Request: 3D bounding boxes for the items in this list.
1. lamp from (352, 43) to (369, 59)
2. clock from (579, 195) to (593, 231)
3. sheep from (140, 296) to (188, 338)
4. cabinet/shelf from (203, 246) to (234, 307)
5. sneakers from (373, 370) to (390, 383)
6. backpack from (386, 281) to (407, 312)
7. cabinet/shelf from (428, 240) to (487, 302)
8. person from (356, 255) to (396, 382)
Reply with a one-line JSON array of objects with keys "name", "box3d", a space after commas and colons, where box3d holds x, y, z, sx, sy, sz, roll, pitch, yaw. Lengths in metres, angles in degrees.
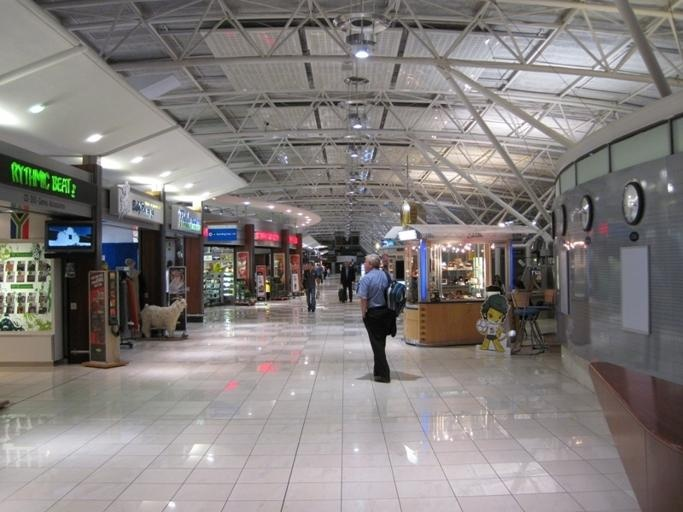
[{"name": "lamp", "box3d": [0.324, -3.304, 7.934, 0.252, 0.131, 0.400, -2, -4, 4]}, {"name": "clock", "box3d": [3.597, -0.622, 7.092, 0.079, 0.531, 0.341, -2, -3, 12]}, {"name": "sheep", "box3d": [-4.460, 1.532, 12.151, 1.113, 0.906, 0.484, -1, -1, -1]}, {"name": "cabinet/shelf", "box3d": [-6.114, 0.957, 24.025, 0.944, 2.946, 2.332, -3, -4, 19]}, {"name": "sneakers", "box3d": [0.597, 1.856, 7.472, 0.109, 0.150, 0.318, 4, -2, -29]}, {"name": "backpack", "box3d": [0.831, 0.629, 7.455, 0.264, 0.460, 0.350, 12, 17, 29]}, {"name": "cabinet/shelf", "box3d": [2.849, 0.421, 11.342, 1.566, 1.393, 0.514, -3, -4, 39]}, {"name": "person", "box3d": [0.538, 0.944, 7.417, 0.486, 1.951, 0.572, -3, -3, 21]}]
